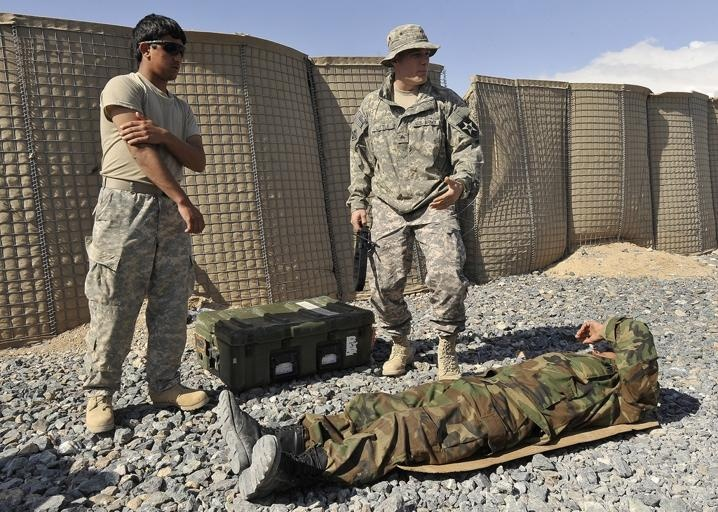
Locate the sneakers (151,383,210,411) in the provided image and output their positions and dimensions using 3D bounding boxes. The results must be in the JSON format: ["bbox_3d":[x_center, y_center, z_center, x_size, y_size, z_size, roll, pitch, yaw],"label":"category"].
[{"bbox_3d":[-1.427,1.128,4.759,0.454,0.168,0.189,-3,11,9],"label":"sneakers"}]

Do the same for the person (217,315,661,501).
[{"bbox_3d":[0.610,1.108,4.299,3.109,0.679,1.145,-7,-15,-14],"label":"person"}]

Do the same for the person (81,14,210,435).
[{"bbox_3d":[-1.679,-0.268,4.538,1.062,3.116,0.554,-6,5,-14],"label":"person"}]

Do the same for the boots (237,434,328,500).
[{"bbox_3d":[-0.470,1.313,3.695,0.568,0.470,0.264,-5,5,-12],"label":"boots"}]

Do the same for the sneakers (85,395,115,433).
[{"bbox_3d":[-1.960,1.188,4.468,0.199,0.264,0.219,-7,5,-25],"label":"sneakers"}]

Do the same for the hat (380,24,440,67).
[{"bbox_3d":[0.435,-1.921,5.279,0.547,0.291,0.235,-1,6,32],"label":"hat"}]
